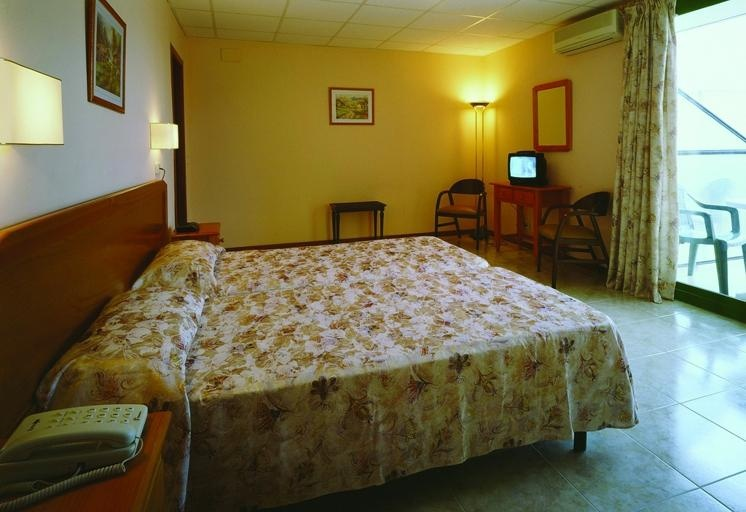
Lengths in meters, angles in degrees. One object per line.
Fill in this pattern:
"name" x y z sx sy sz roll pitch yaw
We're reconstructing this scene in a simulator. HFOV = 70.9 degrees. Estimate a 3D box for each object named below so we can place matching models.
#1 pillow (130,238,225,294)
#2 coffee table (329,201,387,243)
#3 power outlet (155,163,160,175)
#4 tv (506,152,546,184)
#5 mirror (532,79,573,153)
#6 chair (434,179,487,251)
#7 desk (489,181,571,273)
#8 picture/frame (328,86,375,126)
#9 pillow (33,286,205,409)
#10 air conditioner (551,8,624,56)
"pillow" -1.335 0.083 3.589 0.487 0.174 0.997 8 17 -17
"coffee table" -0.163 -0.417 7.118 0.733 0.513 0.383 -5 7 -17
"power outlet" -1.828 -0.732 4.433 0.059 0.061 0.034 18 17 42
"tv" 1.808 -1.074 6.553 0.467 0.396 0.247 -2 3 -20
"mirror" 2.163 -1.671 6.339 0.061 0.821 0.676 -7 13 -21
"chair" 1.245 -0.609 7.262 0.645 0.849 0.581 5 15 27
"desk" 1.954 -0.440 6.657 0.592 0.905 0.922 -6 13 -19
"picture/frame" -0.334 -2.025 7.055 0.542 0.407 0.021 -2 9 -18
"pillow" -1.222 0.445 2.761 0.660 0.237 1.060 3 17 -14
"air conditioner" 2.280 -2.350 5.530 0.265 0.308 0.830 -6 13 -19
